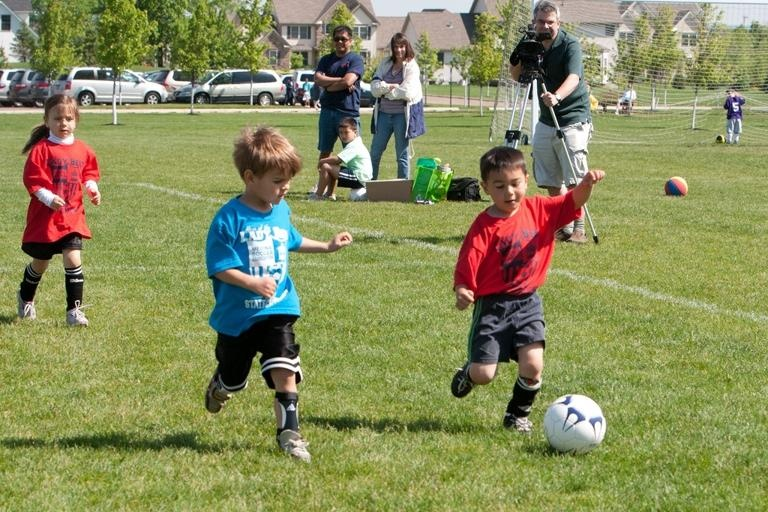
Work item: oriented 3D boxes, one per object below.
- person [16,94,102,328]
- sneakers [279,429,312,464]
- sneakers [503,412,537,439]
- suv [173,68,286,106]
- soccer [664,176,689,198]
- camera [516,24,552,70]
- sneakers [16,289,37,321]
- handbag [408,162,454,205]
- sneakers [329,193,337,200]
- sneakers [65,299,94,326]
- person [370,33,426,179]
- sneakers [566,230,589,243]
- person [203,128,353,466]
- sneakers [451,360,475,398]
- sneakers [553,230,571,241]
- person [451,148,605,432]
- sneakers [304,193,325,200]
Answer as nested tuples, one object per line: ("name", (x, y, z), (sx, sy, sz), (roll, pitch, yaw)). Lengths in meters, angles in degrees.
("person", (-2.747, -0.399, 6.603), (0.620, 1.919, 0.681), (-1, 10, -32))
("sneakers", (-0.558, 1.181, 4.838), (0.144, 0.150, 0.333), (6, 3, -25))
("sneakers", (0.905, 1.118, 5.108), (0.104, 0.093, 0.199), (0, -1, -34))
("suv", (-7.209, -8.464, 38.949), (4.362, 1.918, 1.739), (2, 9, -13))
("soccer", (4.651, -1.092, 12.306), (0.356, 0.289, 0.454), (7, 9, 20))
("camera", (1.618, -2.317, 8.678), (0.354, 0.488, 0.374), (2, 7, -6))
("sneakers", (-3.084, 0.429, 6.720), (0.122, 0.299, 0.126), (-11, 6, -38))
("handbag", (0.726, -1.129, 11.560), (0.562, 0.620, 0.588), (9, 12, 6))
("sneakers", (-0.775, -0.880, 11.609), (0.067, 0.078, 0.181), (-1, -4, -6))
("sneakers", (-2.593, 0.511, 6.694), (0.338, 0.242, 0.125), (0, -2, 44))
("person", (0.207, -2.237, 11.771), (0.788, 2.190, 0.660), (6, 9, 11))
("sneakers", (2.260, -0.228, 9.099), (0.151, 0.110, 0.279), (1, -2, 17))
("person", (-0.732, 0.207, 4.870), (0.789, 2.004, 0.607), (3, 8, -5))
("sneakers", (0.559, 0.841, 5.220), (0.137, 0.120, 0.320), (-33, 24, 35))
("sneakers", (2.120, -0.231, 9.150), (0.219, 0.122, 0.177), (9, 3, 2))
("person", (0.883, 0.210, 5.142), (0.879, 1.839, 0.528), (3, 8, -5))
("sneakers", (-1.025, -0.878, 11.560), (0.272, 0.116, 0.101), (10, 4, 4))
